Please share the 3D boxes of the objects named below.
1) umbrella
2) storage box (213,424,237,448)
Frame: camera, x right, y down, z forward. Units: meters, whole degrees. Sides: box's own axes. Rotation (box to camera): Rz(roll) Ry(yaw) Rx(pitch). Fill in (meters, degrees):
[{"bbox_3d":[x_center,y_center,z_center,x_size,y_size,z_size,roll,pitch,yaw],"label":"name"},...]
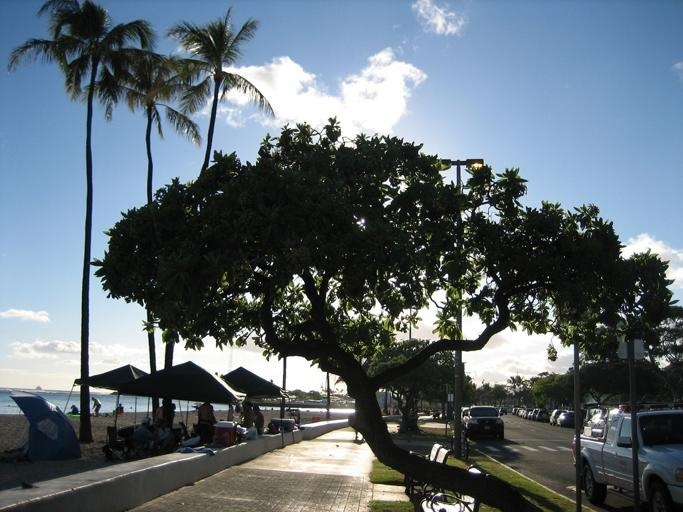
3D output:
[{"bbox_3d":[-8.854,5.181,16.973,1.728,1.584,2.258,3,-7,-17],"label":"umbrella"},{"bbox_3d":[-3.722,5.697,18.177,0.618,0.821,0.618,-2,-10,7],"label":"storage box"}]
